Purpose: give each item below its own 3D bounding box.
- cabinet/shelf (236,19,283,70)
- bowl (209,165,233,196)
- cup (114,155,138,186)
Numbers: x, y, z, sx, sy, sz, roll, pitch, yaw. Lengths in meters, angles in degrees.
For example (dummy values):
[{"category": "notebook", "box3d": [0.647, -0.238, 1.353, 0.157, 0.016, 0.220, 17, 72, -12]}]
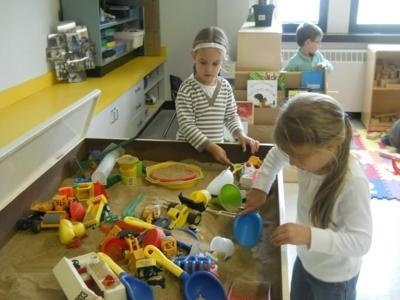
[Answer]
[{"category": "cabinet/shelf", "box3d": [0.533, -1.057, 2.797, 0.305, 0.311, 0.620, 2, 30, 8]}, {"category": "bowl", "box3d": [0.107, 0.163, 1.577, 0.123, 0.050, 0.100, -38, 35, -5]}, {"category": "cup", "box3d": [-0.355, 0.098, 1.634, 0.094, 0.149, 0.151, -1, 28, -1]}]
